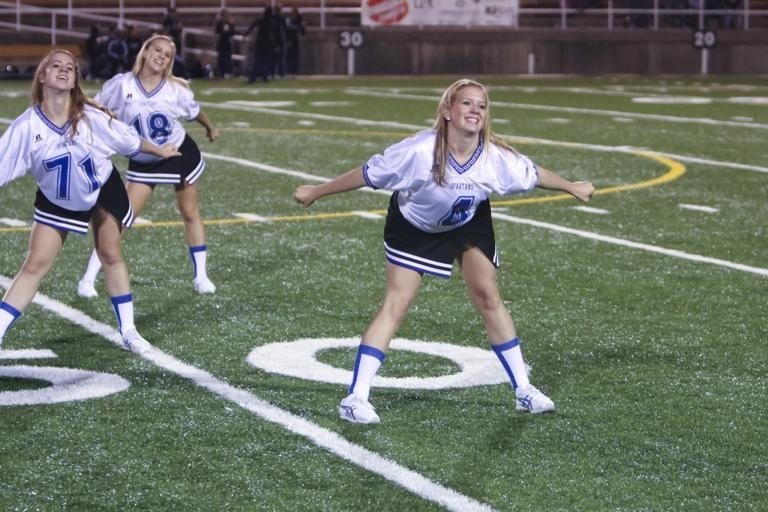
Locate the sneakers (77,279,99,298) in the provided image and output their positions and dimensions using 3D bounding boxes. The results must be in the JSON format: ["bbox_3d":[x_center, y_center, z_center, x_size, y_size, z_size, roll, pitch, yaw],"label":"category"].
[{"bbox_3d":[-2.294,0.261,7.739,0.110,0.072,0.173,-6,3,-31],"label":"sneakers"}]

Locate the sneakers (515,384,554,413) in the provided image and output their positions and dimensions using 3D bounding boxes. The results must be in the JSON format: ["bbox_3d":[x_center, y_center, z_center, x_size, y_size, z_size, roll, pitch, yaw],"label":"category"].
[{"bbox_3d":[0.852,0.827,5.836,0.123,0.110,0.250,-5,2,-42],"label":"sneakers"}]

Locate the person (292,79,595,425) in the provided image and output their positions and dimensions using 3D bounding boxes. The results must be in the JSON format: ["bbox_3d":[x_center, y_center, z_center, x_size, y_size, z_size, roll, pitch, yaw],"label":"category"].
[{"bbox_3d":[0.317,-0.019,5.672,1.341,1.925,0.326,2,8,-5],"label":"person"}]

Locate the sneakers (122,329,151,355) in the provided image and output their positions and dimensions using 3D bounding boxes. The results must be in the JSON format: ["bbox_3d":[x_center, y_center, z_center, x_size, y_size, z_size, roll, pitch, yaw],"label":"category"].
[{"bbox_3d":[-1.662,0.565,6.660,0.267,0.109,0.099,9,32,45],"label":"sneakers"}]

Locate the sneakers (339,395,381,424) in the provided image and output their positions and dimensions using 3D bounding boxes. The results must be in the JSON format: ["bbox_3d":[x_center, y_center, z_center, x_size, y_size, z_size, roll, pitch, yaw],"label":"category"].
[{"bbox_3d":[-0.160,0.865,5.700,0.279,0.123,0.109,1,4,41],"label":"sneakers"}]
